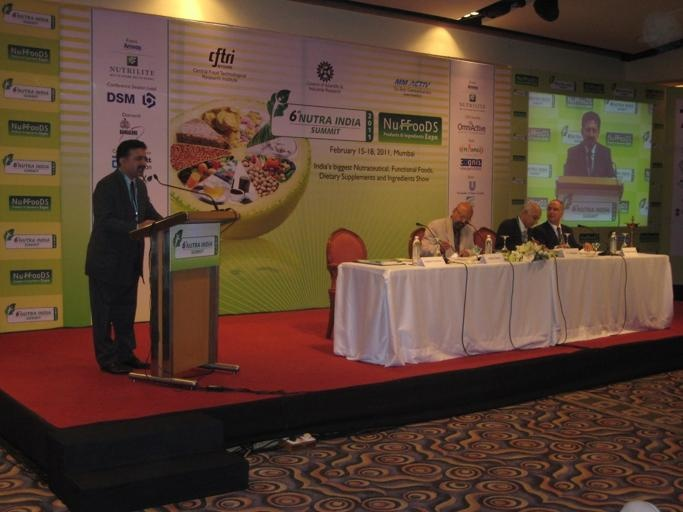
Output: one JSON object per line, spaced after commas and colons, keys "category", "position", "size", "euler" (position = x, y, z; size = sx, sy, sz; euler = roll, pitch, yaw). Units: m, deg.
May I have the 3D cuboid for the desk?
{"category": "desk", "position": [1.647, 0.445, 5.301], "size": [3.427, 0.849, 0.536], "euler": [-2, 12, -24]}

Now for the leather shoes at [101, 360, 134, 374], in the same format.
{"category": "leather shoes", "position": [-1.747, 0.853, 4.397], "size": [0.200, 0.086, 0.107], "euler": [1, -2, 13]}

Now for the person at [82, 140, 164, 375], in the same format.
{"category": "person", "position": [-1.721, 0.011, 4.365], "size": [0.496, 1.778, 0.435], "euler": [-2, 11, -21]}

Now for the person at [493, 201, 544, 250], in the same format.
{"category": "person", "position": [1.873, -0.327, 6.013], "size": [0.373, 0.479, 0.794], "euler": [8, 12, 29]}

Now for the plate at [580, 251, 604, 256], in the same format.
{"category": "plate", "position": [2.579, -0.025, 5.845], "size": [0.133, 0.033, 0.135], "euler": [-2, 4, -20]}
